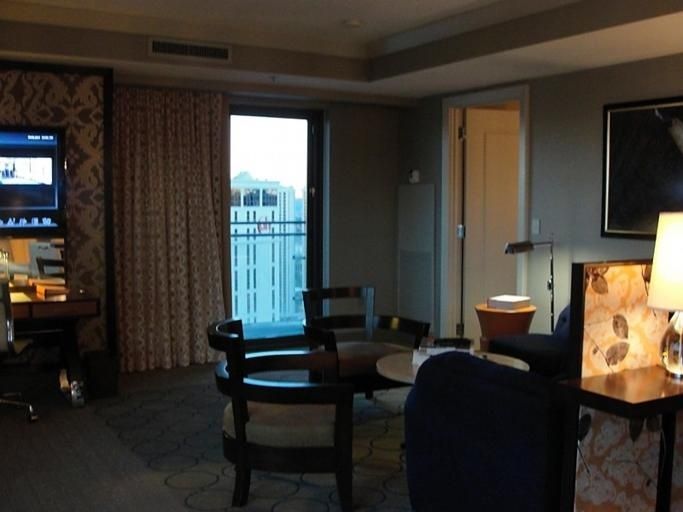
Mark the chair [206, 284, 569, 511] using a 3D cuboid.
[{"bbox_3d":[-0.141,0.810,4.480,1.374,1.115,2.652,0,9,-3],"label":"chair"}]

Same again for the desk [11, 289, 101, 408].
[{"bbox_3d":[-2.604,0.741,5.379,0.674,0.924,1.243,-2,7,-27],"label":"desk"}]
